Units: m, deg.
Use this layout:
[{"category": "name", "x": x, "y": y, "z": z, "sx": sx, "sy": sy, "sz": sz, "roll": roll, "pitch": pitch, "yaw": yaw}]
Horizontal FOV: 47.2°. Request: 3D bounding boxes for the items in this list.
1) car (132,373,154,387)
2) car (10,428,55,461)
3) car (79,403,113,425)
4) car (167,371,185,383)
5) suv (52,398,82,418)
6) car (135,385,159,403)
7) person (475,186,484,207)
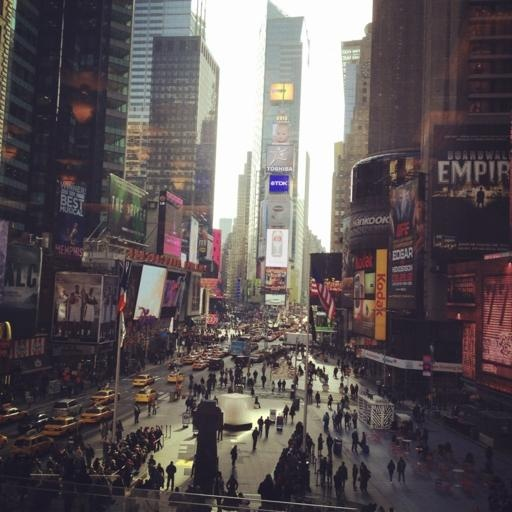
[{"category": "car", "x": -10.090, "y": 11.132, "z": 53.110, "sx": 0.793, "sy": 0.804, "sz": 2.107, "roll": 2, "pitch": 8, "yaw": 2}, {"category": "car", "x": -11.939, "y": 10.064, "z": 31.193, "sx": 0.912, "sy": 1.096, "sz": 1.869, "roll": 3, "pitch": 9, "yaw": 9}, {"category": "car", "x": -10.567, "y": 10.500, "z": 39.209, "sx": 0.993, "sy": 0.968, "sz": 2.648, "roll": 3, "pitch": 9, "yaw": 5}, {"category": "car", "x": -7.512, "y": 11.379, "z": 54.922, "sx": 0.888, "sy": 1.113, "sz": 1.938, "roll": 2, "pitch": 9, "yaw": 4}, {"category": "suv", "x": -12.753, "y": 10.389, "z": 39.318, "sx": 0.782, "sy": 1.111, "sz": 2.011, "roll": 2, "pitch": 5, "yaw": 7}, {"category": "car", "x": -8.486, "y": 11.022, "z": 45.881, "sx": 0.874, "sy": 0.904, "sz": 2.286, "roll": 1, "pitch": 6, "yaw": 3}, {"category": "person", "x": 19.845, "y": -5.292, "z": 52.019, "sx": 0.720, "sy": 1.802, "sz": 0.229, "roll": -1, "pitch": -4, "yaw": 27}]
